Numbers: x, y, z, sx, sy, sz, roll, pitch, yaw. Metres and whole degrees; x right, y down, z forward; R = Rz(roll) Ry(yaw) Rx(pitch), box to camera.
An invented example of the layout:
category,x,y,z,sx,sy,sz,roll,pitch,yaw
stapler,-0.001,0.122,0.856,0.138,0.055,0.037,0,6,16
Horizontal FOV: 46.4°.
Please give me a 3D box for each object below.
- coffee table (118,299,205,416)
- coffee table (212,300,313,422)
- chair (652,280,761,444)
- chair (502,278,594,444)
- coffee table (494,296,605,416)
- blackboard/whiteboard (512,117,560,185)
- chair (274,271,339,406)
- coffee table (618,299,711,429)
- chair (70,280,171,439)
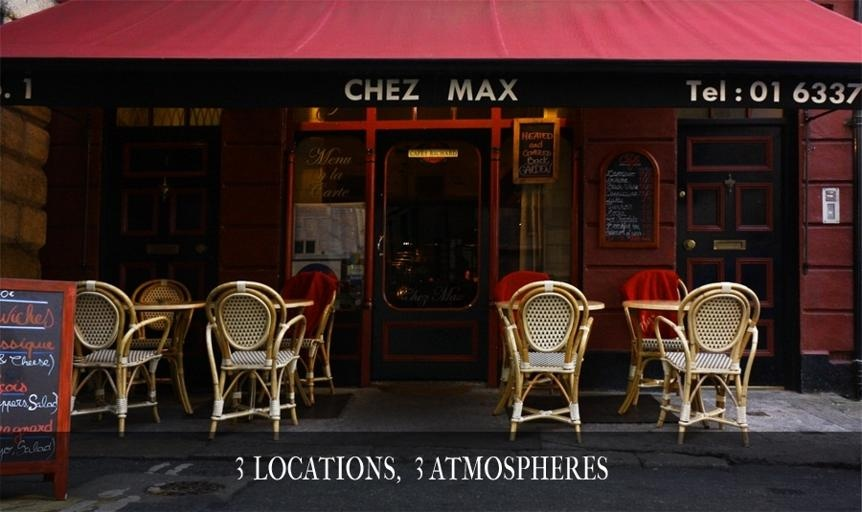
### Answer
category,x,y,z,sx,sy,sz,roll,pitch,yaw
coffee table,-3.431,1.243,12.595,1.004,1.153,1.034,0,0,41
coffee table,-2.083,1.194,12.097,1.175,1.802,1.252,-1,-1,-9
chair,3.334,1.241,12.092,1.167,1.844,1.573,-1,-1,15
chair,1.339,1.159,11.333,1.068,1.667,1.159,1,-1,28
coffee table,1.410,1.285,12.205,1.363,1.573,1.326,6,-2,-25
blackboard/whiteboard,1.432,-1.431,13.547,0.833,1.189,0.079,0,-2,-2
chair,-1.729,1.109,13.060,0.999,1.553,1.072,-11,12,-15
coffee table,2.862,1.273,12.509,0.953,1.240,1.082,-9,-23,11
chair,-3.745,1.200,12.106,1.118,1.804,2.249,0,-1,-19
